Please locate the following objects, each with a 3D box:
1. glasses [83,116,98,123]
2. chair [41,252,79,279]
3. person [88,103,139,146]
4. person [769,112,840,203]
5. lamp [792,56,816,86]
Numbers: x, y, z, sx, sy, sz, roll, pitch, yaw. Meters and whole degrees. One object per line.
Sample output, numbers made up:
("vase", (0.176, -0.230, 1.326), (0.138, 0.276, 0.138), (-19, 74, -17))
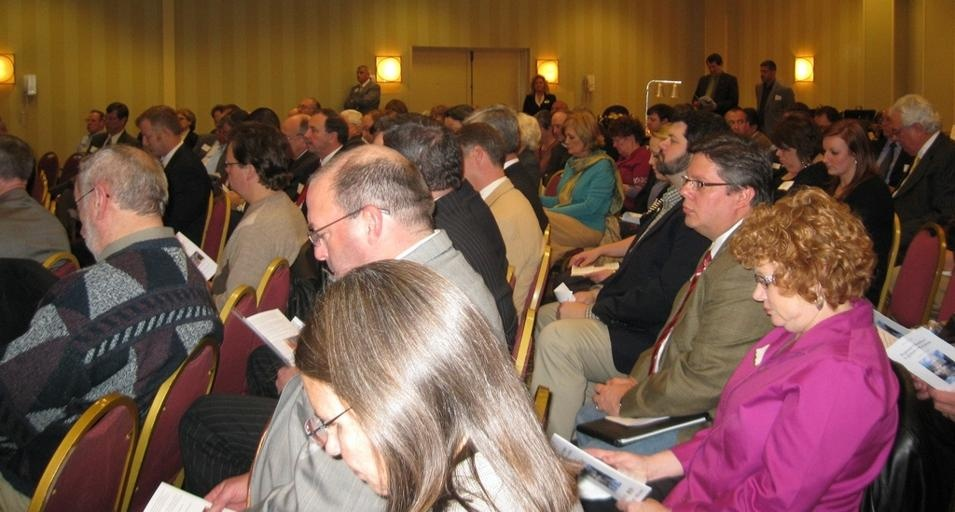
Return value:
("glasses", (-6.004, -2.092, 10.901), (0.155, 0.084, 0.194), (6, 2, 24))
("chair", (-2.810, 0.071, 4.702), (0.160, 0.204, 0.171), (-6, 2, -43))
("person", (-5.136, -1.755, 9.929), (0.847, 0.701, 0.423), (5, 6, 13))
("person", (3.063, -0.919, 6.511), (0.484, 0.785, 0.760), (-2, 29, 32))
("lamp", (5.876, -3.287, 12.552), (0.459, 0.428, 0.113), (8, 6, 40))
